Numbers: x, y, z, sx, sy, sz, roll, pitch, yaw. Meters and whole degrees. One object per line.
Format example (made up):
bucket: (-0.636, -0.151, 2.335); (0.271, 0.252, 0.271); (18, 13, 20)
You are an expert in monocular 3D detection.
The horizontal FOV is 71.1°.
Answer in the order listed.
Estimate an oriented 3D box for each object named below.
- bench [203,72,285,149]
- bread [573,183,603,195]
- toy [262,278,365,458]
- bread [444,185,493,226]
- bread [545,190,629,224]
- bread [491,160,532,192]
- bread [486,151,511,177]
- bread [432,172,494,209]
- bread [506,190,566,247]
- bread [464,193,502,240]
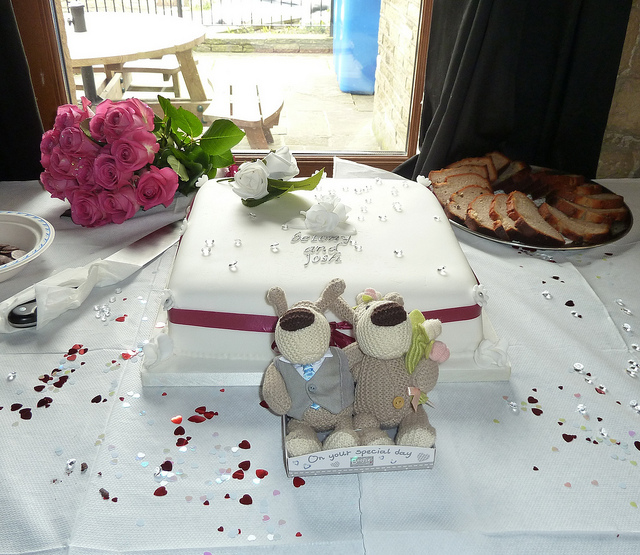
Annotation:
bench: (-0.345, -0.747, 1.998); (0.366, 0.309, 0.158); (-3, 40, -3)
bread: (0.891, -0.295, 1.479); (0.080, 0.015, 0.066); (0, 17, 7)
toy: (-0.002, 0.143, 0.698); (0.210, 0.246, 0.155); (-4, 5, -7)
bread: (0.470, -0.236, 1.462); (0.160, 0.040, 0.141); (15, 65, 20)
bread: (0.853, -0.200, 1.415); (0.156, 0.031, 0.139); (6, 20, -26)
bread: (0.685, -0.364, 1.623); (0.154, 0.034, 0.138); (-31, 17, 0)
bread: (0.651, -0.420, 1.639); (0.092, 0.023, 0.089); (41, 86, 20)
bread: (0.503, -0.300, 1.537); (0.259, 0.051, 0.222); (8, 29, -7)
bread: (0.665, -0.184, 1.383); (0.195, 0.057, 0.235); (44, 42, 21)
bread: (0.489, -0.183, 1.402); (0.161, 0.039, 0.141); (20, 50, -5)
